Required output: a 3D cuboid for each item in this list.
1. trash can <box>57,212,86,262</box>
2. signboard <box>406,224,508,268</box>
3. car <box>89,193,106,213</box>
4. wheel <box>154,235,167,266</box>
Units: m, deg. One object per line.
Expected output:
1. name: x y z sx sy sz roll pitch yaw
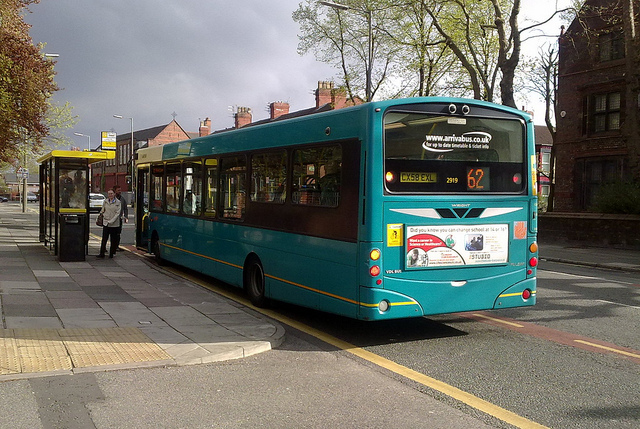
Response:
1. trash can: -7.698 0.686 15.254 0.745 1.429 0.555 -1 6 -27
2. signboard: 2.232 0.521 8.026 2.163 0.745 0.090 2 -1 -33
3. car: -17.224 -0.876 37.803 1.712 1.237 3.695 -1 7 -23
4. wheel: -4.742 1.031 14.616 0.298 0.915 0.924 4 0 -26
